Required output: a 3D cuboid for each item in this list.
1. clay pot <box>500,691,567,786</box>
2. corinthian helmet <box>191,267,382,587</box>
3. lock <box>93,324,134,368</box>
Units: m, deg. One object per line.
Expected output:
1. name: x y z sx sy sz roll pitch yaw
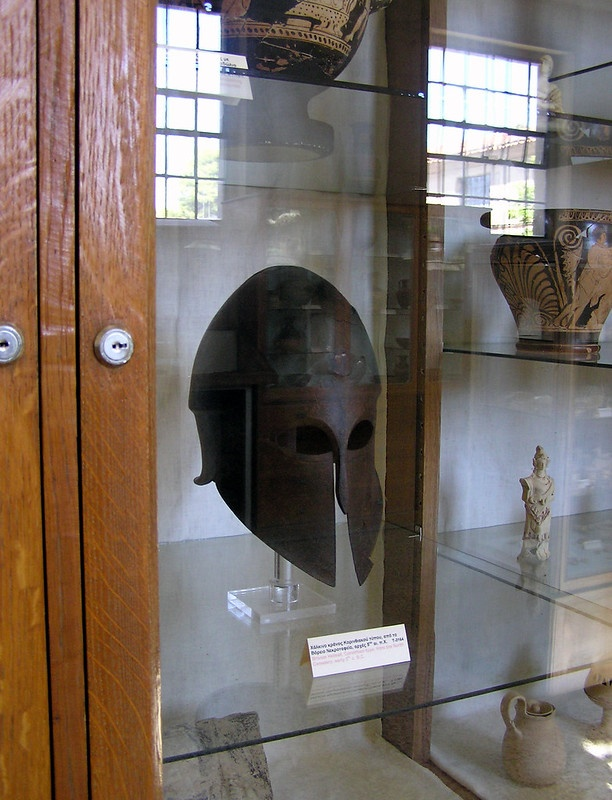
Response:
1. clay pot: 0.277 0.414 0.927 0.080 0.107 0.076 2 0 0
2. corinthian helmet: -0.041 0.016 0.957 0.293 0.350 0.282 2 9 14
3. lock: -0.131 -0.037 0.501 0.011 0.031 0.030 -2 1 45
